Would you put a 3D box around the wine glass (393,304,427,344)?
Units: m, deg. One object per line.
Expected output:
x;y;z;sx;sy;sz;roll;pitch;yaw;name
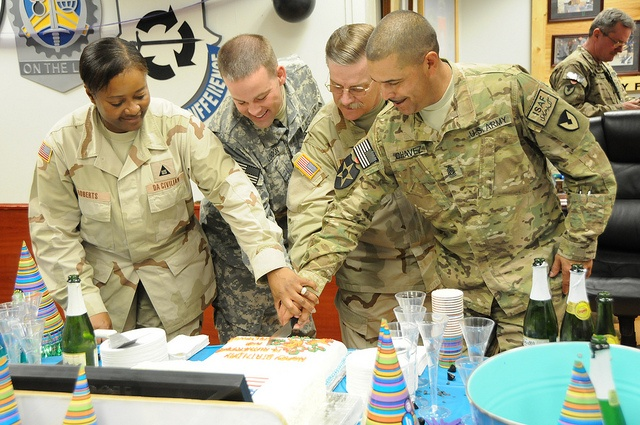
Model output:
0.336;0.393;1.775;0.134;0.165;0.130;0;4;14;wine glass

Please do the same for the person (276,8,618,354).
0.623;-0.114;2.252;1.261;1.568;0.403;-4;3;1;person

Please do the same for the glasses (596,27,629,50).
2.781;-1.624;4.665;0.195;0.196;0.059;-8;-17;-31;glasses

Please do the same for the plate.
-0.735;0.520;1.927;0.218;0.106;0.164;1;11;34;plate

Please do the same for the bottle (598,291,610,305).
0.968;0.290;1.665;0.034;0.032;0.034;-6;3;3;bottle

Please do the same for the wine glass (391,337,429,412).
0.300;0.536;1.660;0.103;0.247;0.234;-3;3;25;wine glass

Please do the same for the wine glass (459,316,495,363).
0.542;0.447;1.692;0.116;0.181;0.118;2;-5;1;wine glass

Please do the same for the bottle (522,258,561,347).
0.768;0.312;1.724;0.110;0.330;0.259;-3;3;25;bottle

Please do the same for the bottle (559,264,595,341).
0.893;0.321;1.715;0.112;0.314;0.235;-3;3;25;bottle

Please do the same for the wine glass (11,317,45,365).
-1.119;0.505;1.921;0.092;0.177;0.114;-3;3;16;wine glass

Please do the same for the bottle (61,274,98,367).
-0.921;0.424;1.858;0.120;0.331;0.331;-6;3;-26;bottle

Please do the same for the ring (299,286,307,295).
-0.074;0.357;2.243;0.028;0.028;0.029;19;-21;8;ring
